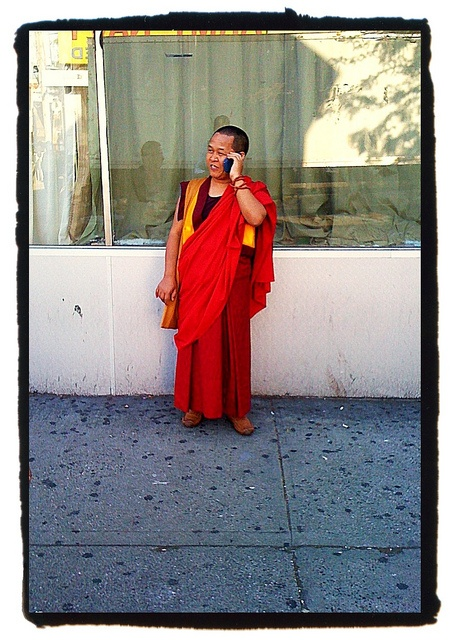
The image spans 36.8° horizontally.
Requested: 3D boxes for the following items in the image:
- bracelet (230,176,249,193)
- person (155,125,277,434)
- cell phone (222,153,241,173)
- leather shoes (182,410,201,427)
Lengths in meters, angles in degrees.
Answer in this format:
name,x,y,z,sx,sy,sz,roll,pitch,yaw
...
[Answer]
name,x,y,z,sx,sy,sz,roll,pitch,yaw
bracelet,0.063,-0.697,3.560,0.085,0.079,0.115,-1,13,-3
person,-0.082,-0.199,3.769,0.660,1.652,0.356,0,11,3
cell phone,0.019,-0.821,3.636,0.075,0.115,0.035,11,-14,-5
leather shoes,-0.216,0.567,3.936,0.056,0.050,0.117,0,18,6
